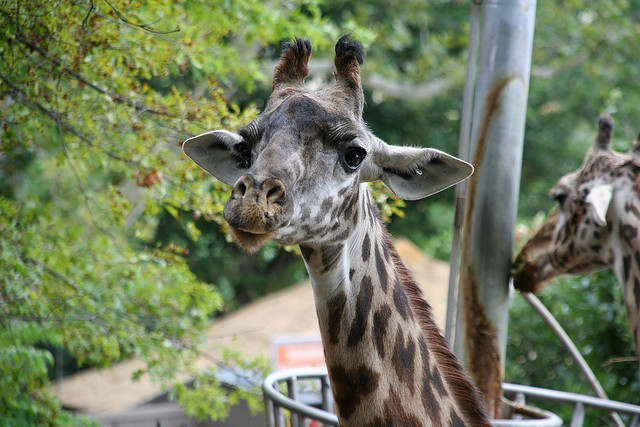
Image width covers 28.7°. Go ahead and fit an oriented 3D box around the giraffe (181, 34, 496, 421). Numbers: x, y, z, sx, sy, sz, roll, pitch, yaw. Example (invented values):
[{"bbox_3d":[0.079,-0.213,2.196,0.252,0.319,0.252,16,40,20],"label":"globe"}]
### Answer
[{"bbox_3d":[0.254,0.150,11.072,2.213,3.425,1.028,-2,10,-8],"label":"giraffe"}]
